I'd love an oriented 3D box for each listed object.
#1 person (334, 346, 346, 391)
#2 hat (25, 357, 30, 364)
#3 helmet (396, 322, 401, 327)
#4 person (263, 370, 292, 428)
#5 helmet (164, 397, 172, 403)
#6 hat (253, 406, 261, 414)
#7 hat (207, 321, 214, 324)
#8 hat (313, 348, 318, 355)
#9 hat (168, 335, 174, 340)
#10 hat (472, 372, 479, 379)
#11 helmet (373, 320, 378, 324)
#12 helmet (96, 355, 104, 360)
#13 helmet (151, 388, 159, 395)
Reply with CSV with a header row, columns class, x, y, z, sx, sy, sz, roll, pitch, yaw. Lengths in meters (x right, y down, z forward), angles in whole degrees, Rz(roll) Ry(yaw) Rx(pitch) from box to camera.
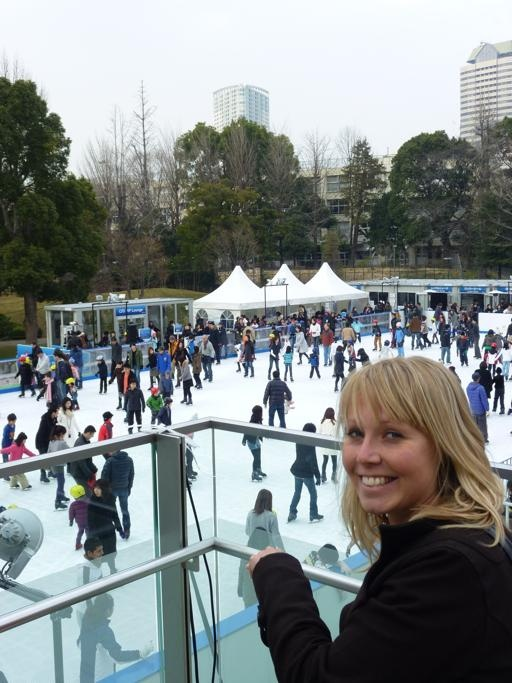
class,x,y,z,sx,sy,sz,roll,pitch,yaw
person,2.187,0.683,17.999,0.371,1.170,0.337,-5,10,-24
hat,-6.347,0.557,19.404,0.138,0.174,0.207,8,1,-1
helmet,4.957,-0.527,24.269,0.142,0.207,0.193,0,-6,1
person,0.376,1.285,14.216,0.497,1.242,0.327,-5,31,-4
helmet,-1.587,1.094,12.662,0.091,0.122,0.140,2,16,-2
hat,0.021,1.036,10.546,0.100,0.151,0.140,5,-9,2
hat,-1.630,-0.623,25.129,0.185,0.145,0.261,0,1,-4
hat,1.762,0.312,20.736,0.119,0.185,0.184,5,29,17
hat,-2.535,-0.083,20.963,0.076,0.103,0.100,0,-37,2
hat,3.864,0.605,12.274,0.080,0.113,0.107,7,29,31
helmet,4.791,-0.742,28.062,0.164,0.193,0.172,1,-5,11
helmet,-4.413,0.497,19.820,0.217,0.123,0.345,-1,6,-16
helmet,-2.025,1.015,14.101,0.131,0.172,0.169,-3,-3,-41
